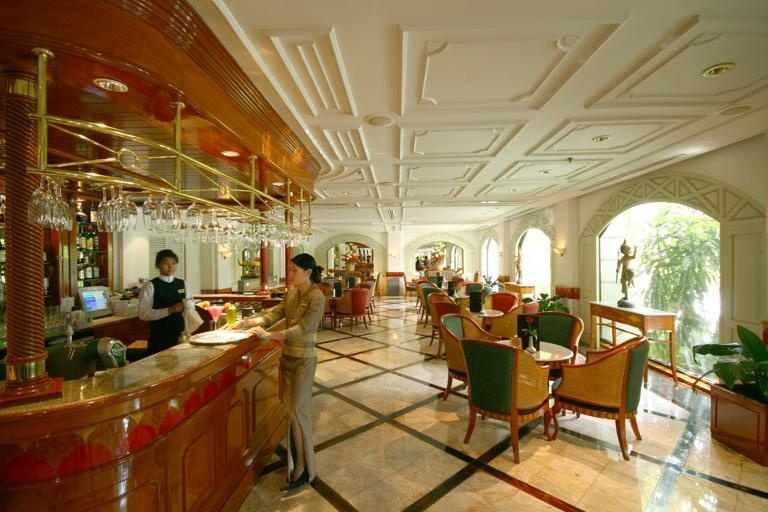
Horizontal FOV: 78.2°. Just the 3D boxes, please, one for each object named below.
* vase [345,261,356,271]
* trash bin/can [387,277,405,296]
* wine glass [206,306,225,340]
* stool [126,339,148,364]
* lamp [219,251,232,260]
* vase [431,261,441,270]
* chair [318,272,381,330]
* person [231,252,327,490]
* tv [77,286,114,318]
[{"bbox_3d":[-1.203,0.342,16.610,0.388,0.373,0.367,5,11,21],"label":"vase"},{"bbox_3d":[0.431,1.193,18.425,0.802,0.650,0.719,0,-11,3],"label":"trash bin/can"},{"bbox_3d":[-1.946,0.719,5.490,0.251,0.251,0.241,2,-8,-18],"label":"wine glass"},{"bbox_3d":[-2.806,1.081,5.344,0.182,0.157,0.303,-8,30,-17],"label":"stool"},{"bbox_3d":[-4.165,-0.025,12.333,0.394,0.203,0.360,-1,-8,2],"label":"lamp"},{"bbox_3d":[1.636,0.318,14.887,0.283,0.263,0.269,-1,3,32],"label":"vase"},{"bbox_3d":[-0.709,1.125,11.083,1.250,1.158,1.044,3,2,38],"label":"chair"},{"bbox_3d":[-0.966,1.145,4.937,0.782,2.313,0.881,-4,15,-15],"label":"person"},{"bbox_3d":[-4.073,0.656,6.621,0.301,0.465,0.471,-1,0,15],"label":"tv"}]
